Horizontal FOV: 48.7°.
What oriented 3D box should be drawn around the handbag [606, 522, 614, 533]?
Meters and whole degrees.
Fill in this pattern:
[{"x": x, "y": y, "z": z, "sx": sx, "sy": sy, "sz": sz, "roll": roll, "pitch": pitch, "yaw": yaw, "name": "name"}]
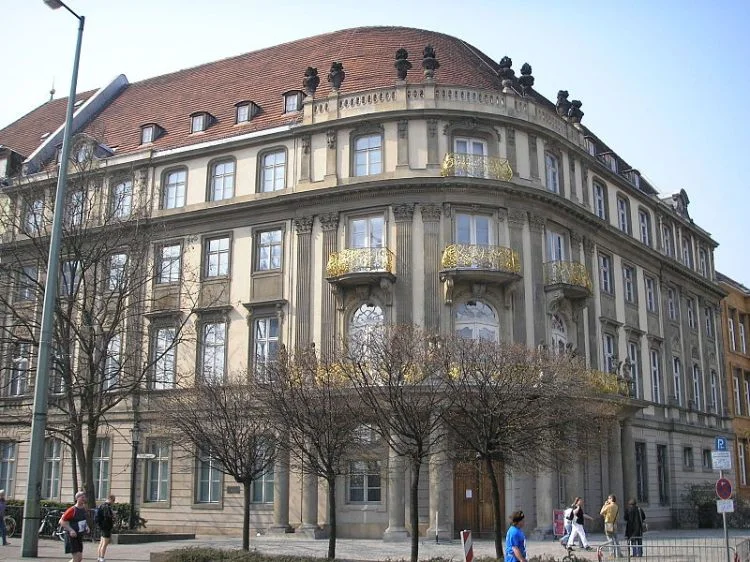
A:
[{"x": 8.526, "y": 8.905, "z": 29.911, "sx": 0.214, "sy": 0.320, "sz": 0.101, "roll": -1, "pitch": -8, "yaw": 22, "name": "handbag"}]
